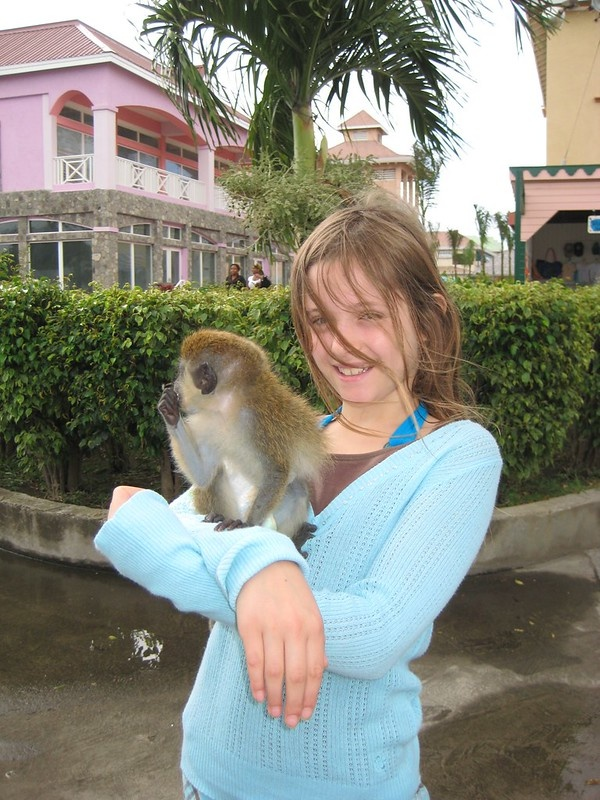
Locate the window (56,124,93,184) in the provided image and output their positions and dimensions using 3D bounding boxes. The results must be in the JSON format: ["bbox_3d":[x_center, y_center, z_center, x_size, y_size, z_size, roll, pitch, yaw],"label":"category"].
[{"bbox_3d":[-5.558,-6.080,20.815,0.849,1.578,2.826,-5,10,-13],"label":"window"}]

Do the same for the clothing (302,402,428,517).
[{"bbox_3d":[0.141,0.127,1.741,0.249,0.126,0.195,-37,9,-36],"label":"clothing"}]

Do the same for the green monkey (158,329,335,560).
[{"bbox_3d":[-0.122,0.062,1.830,0.354,0.507,0.484,-11,16,-28],"label":"green monkey"}]
